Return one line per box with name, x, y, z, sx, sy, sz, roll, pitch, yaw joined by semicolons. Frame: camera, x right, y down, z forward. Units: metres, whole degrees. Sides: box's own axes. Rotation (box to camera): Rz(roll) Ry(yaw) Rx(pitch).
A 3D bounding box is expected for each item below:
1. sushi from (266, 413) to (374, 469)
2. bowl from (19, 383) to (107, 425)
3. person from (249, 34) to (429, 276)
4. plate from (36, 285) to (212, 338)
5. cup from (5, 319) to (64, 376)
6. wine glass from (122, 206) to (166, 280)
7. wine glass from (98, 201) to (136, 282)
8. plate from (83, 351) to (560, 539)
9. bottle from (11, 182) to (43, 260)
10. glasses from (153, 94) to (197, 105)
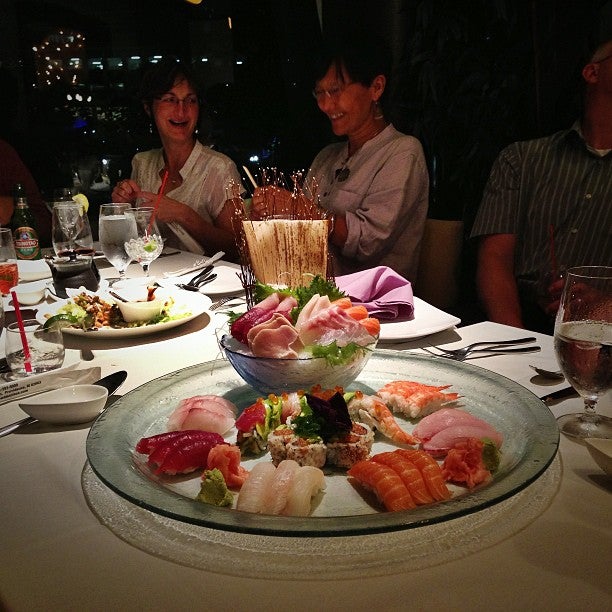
sushi;0.020;0.188;0.809;0.154;0.050;0.144;7;10;33
bowl;-0.425;0.178;0.905;0.146;0.040;0.105;-5;12;-34
person;0.196;-0.784;2.967;0.839;1.534;0.904;-5;20;-26
plate;-0.519;-0.033;1.452;0.396;0.137;0.437;8;13;31
cup;-0.572;0.085;1.110;0.108;0.108;0.111;5;14;-1
wine glass;-0.589;-0.230;1.897;0.168;0.245;0.163;1;15;-7
wine glass;-0.637;-0.231;1.855;0.135;0.263;0.122;-4;16;-5
plate;0.035;0.131;0.766;0.519;0.168;0.391;-3;14;-24
bottle;-1.215;-0.366;2.212;0.147;0.296;0.134;9;18;-3
glasses;-0.913;-1.448;3.631;0.281;0.066;0.071;-5;19;-10
